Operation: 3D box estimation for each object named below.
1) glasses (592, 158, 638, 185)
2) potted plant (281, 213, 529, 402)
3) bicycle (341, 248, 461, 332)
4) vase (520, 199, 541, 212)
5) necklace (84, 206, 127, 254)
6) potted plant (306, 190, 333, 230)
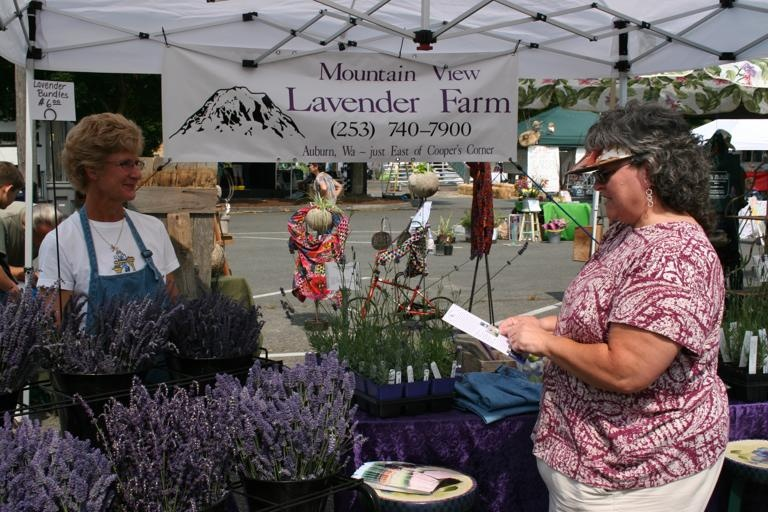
[{"bbox_3d":[1.098,-0.411,4.734,0.138,0.042,0.128,-17,-15,-19],"label":"glasses"},{"bbox_3d":[0.322,0.343,9.515,2.329,1.336,1.144,5,0,-11],"label":"potted plant"},{"bbox_3d":[0.192,0.274,8.130,1.148,0.689,0.625,5,-6,-9],"label":"bicycle"},{"bbox_3d":[2.802,-0.910,18.731,0.315,0.217,0.232,-1,0,-24],"label":"vase"},{"bbox_3d":[-1.494,-0.136,5.384,0.232,0.227,0.082,0,-14,-10],"label":"necklace"},{"bbox_3d":[-0.664,-0.402,9.995,0.250,0.341,0.173,-2,-40,-23],"label":"potted plant"}]
